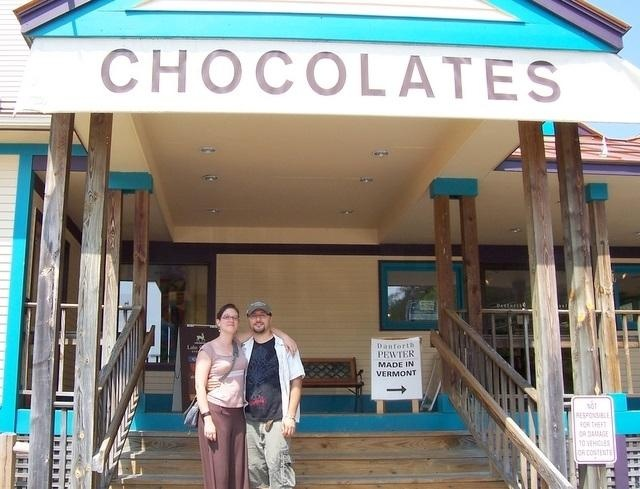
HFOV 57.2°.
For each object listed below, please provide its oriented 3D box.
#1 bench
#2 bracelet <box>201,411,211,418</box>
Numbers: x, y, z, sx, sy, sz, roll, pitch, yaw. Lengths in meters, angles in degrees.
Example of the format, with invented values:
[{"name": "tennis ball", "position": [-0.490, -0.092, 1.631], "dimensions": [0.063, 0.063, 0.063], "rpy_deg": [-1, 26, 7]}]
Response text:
[{"name": "bench", "position": [0.237, 2.445, 10.417], "dimensions": [1.099, 0.874, 1.261], "rpy_deg": [-3, -10, 0]}, {"name": "bracelet", "position": [-0.966, 1.437, 4.958], "dimensions": [0.048, 0.054, 0.050], "rpy_deg": [-27, -13, 31]}]
